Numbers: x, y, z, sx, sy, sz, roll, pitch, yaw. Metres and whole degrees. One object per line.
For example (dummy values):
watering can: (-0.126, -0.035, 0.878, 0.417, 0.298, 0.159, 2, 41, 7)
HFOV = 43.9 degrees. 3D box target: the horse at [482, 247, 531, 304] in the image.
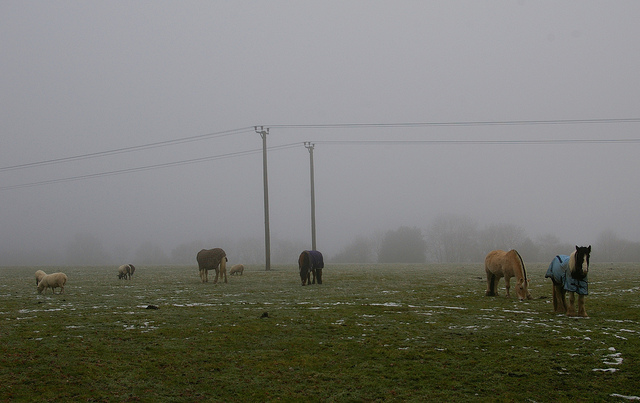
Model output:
horse: (11.120, 4.553, 48.086, 2.179, 3.251, 3.374, -2, -7, -2)

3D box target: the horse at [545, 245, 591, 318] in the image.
horse: (13.815, 4.532, 44.300, 2.111, 3.882, 5.716, 1, -3, -1)

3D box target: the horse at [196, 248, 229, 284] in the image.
horse: (-8.046, 4.931, 59.641, 2.068, 2.578, 3.751, -1, -7, -9)

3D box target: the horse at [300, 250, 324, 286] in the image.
horse: (-0.624, 4.795, 56.873, 1.491, 2.473, 2.637, -4, -7, 13)

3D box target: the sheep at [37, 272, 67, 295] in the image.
sheep: (-17.484, 5.464, 52.268, 1.856, 1.399, 0.926, -4, -7, 14)

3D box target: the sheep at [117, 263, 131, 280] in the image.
sheep: (-15.832, 5.817, 64.769, 0.904, 1.123, 1.474, -1, -7, -14)
